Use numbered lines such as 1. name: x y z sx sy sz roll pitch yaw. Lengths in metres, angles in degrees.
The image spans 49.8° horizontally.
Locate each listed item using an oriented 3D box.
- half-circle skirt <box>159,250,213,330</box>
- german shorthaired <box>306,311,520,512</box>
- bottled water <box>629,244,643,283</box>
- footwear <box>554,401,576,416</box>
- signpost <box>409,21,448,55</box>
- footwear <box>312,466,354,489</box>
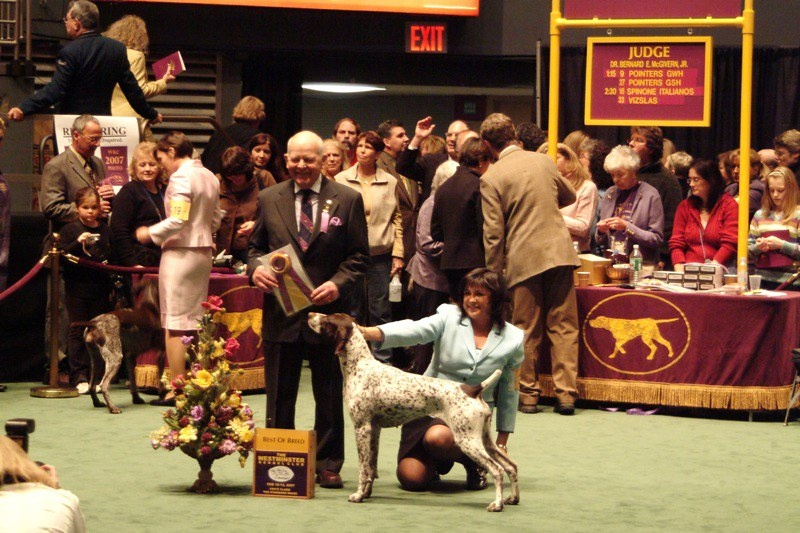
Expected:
1. half-circle skirt: -1.819 0.195 7.304 0.428 0.723 0.222 -1 5 -17
2. german shorthaired: 0.078 0.889 5.372 1.307 1.180 0.297 2 5 11
3. bottled water: 2.199 -0.024 8.030 0.102 0.334 0.298 2 5 16
4. footwear: 1.460 1.256 7.643 0.173 0.107 0.163 2 6 10
5. signpost: 0.399 -3.548 13.278 0.602 0.409 0.169 2 5 8
6. footwear: -0.464 1.404 5.689 0.084 0.092 0.213 -2 -1 -43
